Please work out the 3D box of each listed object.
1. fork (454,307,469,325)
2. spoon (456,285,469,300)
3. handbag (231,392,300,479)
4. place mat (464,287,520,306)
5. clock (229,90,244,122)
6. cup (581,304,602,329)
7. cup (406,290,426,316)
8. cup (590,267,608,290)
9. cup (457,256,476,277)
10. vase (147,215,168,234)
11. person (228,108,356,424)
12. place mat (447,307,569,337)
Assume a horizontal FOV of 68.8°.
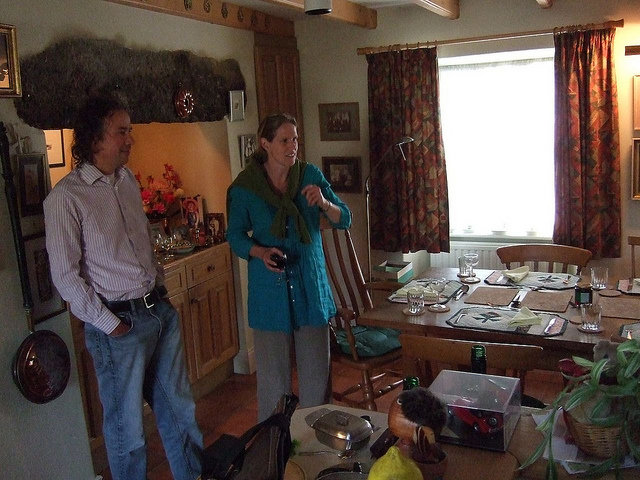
[{"bbox_3d":[0.782,0.405,2.590,0.040,0.038,0.315,-8,9,24],"label":"fork"},{"bbox_3d":[0.885,0.321,2.911,0.105,0.055,0.060,-42,30,-22],"label":"spoon"},{"bbox_3d":[-0.148,0.552,1.304,0.156,0.169,0.218,2,11,21],"label":"handbag"},{"bbox_3d":[1.038,0.335,2.818,0.244,0.027,0.354,6,13,35],"label":"place mat"},{"bbox_3d":[-0.701,-1.104,3.868,0.031,0.293,0.247,0,4,23],"label":"clock"},{"bbox_3d":[1.336,0.365,2.337,0.109,0.131,0.107,-1,3,0],"label":"cup"},{"bbox_3d":[0.545,0.360,2.720,0.132,0.130,0.123,-1,8,0],"label":"cup"},{"bbox_3d":[1.673,0.232,2.802,0.128,0.138,0.097,-7,9,-44],"label":"cup"},{"bbox_3d":[0.986,0.179,3.207,0.105,0.125,0.103,1,6,0],"label":"cup"},{"bbox_3d":[-1.388,-0.118,3.946,0.106,0.125,0.107,-2,7,-12],"label":"vase"},{"bbox_3d":[-0.152,0.272,2.505,0.625,1.798,0.535,-4,14,0],"label":"person"},{"bbox_3d":[0.985,0.424,2.465,0.595,0.026,0.309,3,12,23],"label":"place mat"}]
